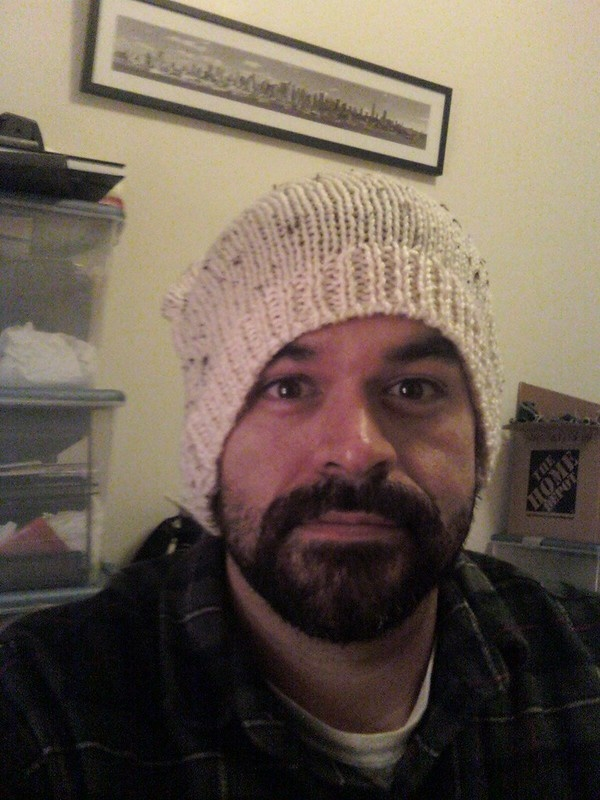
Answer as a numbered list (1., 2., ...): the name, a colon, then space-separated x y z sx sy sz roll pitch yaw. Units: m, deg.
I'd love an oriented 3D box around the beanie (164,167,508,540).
1. beanie: 0.052 -0.138 0.814 0.296 0.274 0.347 -10 11 7
